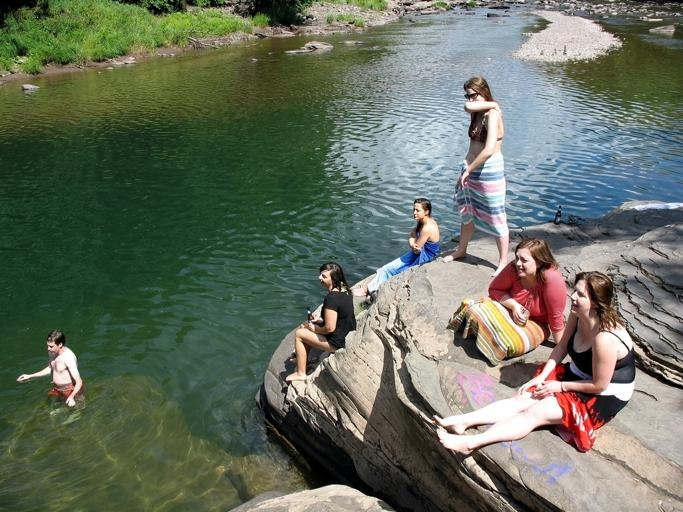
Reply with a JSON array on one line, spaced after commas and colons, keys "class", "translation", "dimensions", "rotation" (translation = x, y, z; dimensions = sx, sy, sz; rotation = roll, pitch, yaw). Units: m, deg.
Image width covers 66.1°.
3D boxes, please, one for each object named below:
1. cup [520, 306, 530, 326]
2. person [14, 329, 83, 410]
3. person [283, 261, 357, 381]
[{"class": "cup", "translation": [2.874, 0.940, 8.177], "dimensions": [0.100, 0.230, 0.179], "rotation": [9, -8, -1]}, {"class": "person", "translation": [-5.866, 2.314, 10.481], "dimensions": [1.105, 1.415, 0.555], "rotation": [21, 38, 20]}, {"class": "person", "translation": [-0.340, 1.301, 9.326], "dimensions": [1.326, 2.120, 0.916], "rotation": [-14, 34, -21]}]
